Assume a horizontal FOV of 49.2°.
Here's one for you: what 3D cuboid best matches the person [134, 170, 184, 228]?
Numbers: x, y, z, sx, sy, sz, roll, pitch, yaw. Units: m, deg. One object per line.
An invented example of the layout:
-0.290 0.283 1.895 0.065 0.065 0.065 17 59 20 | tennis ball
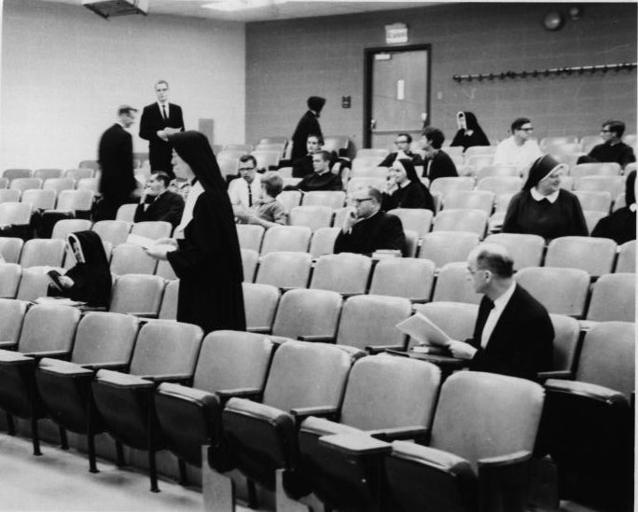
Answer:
-1.783 -0.479 7.730 0.531 0.898 0.440 -2 -4 40 | person
